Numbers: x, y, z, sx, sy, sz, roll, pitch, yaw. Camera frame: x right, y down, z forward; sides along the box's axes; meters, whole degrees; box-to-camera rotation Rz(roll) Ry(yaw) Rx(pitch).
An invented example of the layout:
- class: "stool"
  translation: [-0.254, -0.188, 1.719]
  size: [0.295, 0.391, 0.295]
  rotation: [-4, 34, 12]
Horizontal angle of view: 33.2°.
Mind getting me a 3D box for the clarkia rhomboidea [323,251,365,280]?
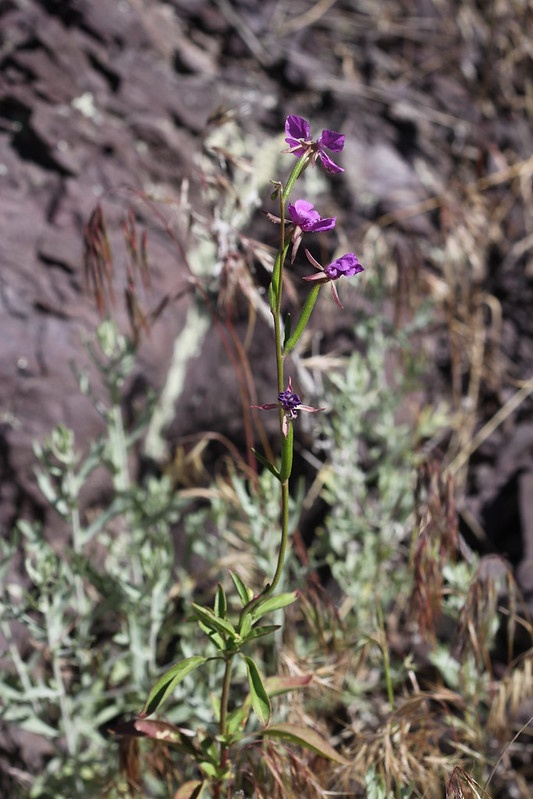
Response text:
- class: "clarkia rhomboidea"
  translation: [0.064, -0.109, 0.741]
  size: [0.029, 0.014, 0.022]
  rotation: [-14, 81, -13]
